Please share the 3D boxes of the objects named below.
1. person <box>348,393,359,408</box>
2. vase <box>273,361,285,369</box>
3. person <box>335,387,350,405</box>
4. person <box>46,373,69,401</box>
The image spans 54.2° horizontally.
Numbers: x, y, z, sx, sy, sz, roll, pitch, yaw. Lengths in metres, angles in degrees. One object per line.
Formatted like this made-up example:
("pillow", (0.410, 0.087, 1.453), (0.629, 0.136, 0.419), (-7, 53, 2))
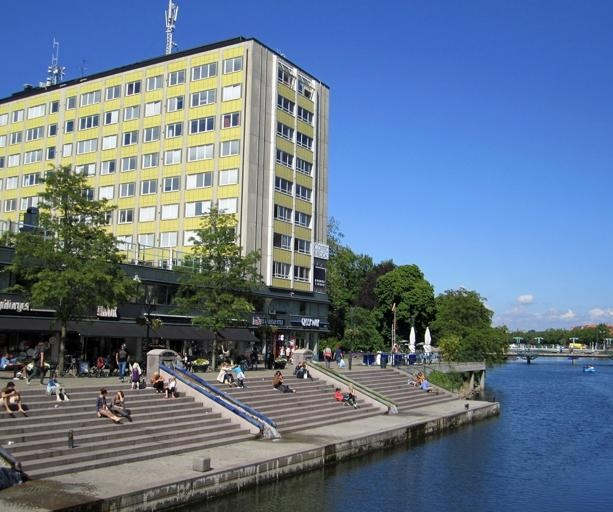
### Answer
("person", (2.938, 9.004, 37.460), (0.639, 0.904, 0.560), (1, -8, -10))
("vase", (-2.237, 9.142, 50.409), (0.965, 0.679, 0.804), (2, -9, -9))
("person", (2.329, 8.865, 37.988), (1.015, 1.170, 0.572), (-6, -4, 2))
("person", (-10.528, 5.642, 25.359), (0.931, 0.896, 1.534), (3, -9, -22))
